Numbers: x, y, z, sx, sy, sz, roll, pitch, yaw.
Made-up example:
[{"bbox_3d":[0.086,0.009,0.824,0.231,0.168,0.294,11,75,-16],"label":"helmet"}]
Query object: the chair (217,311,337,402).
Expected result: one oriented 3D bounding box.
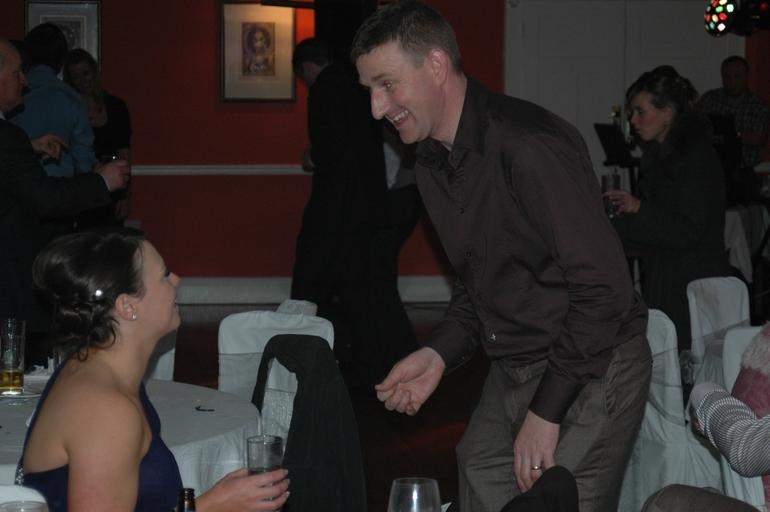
[{"bbox_3d":[-0.441,0.395,3.172,0.344,0.336,0.187,3,3,0],"label":"chair"}]
